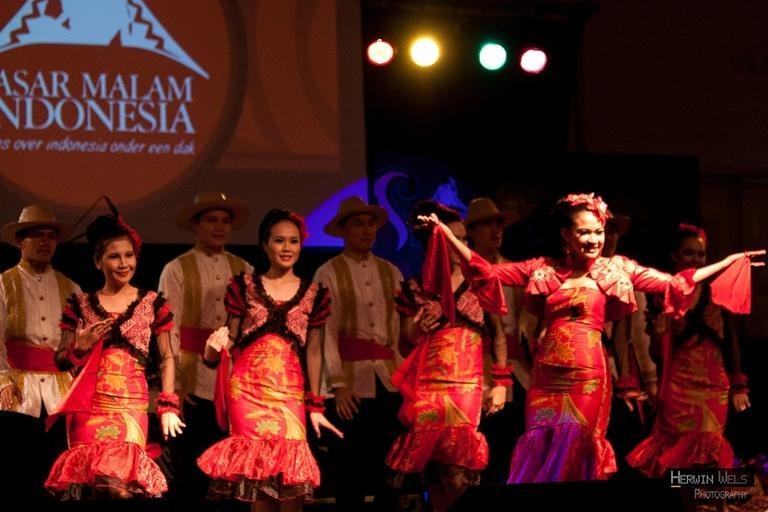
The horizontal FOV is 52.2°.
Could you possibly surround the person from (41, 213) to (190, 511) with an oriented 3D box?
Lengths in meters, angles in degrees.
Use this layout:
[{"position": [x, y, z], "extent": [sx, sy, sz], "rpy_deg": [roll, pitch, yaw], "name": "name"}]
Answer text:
[{"position": [-1.765, 0.680, 5.264], "extent": [0.802, 1.851, 0.475], "rpy_deg": [5, -14, -18], "name": "person"}]
